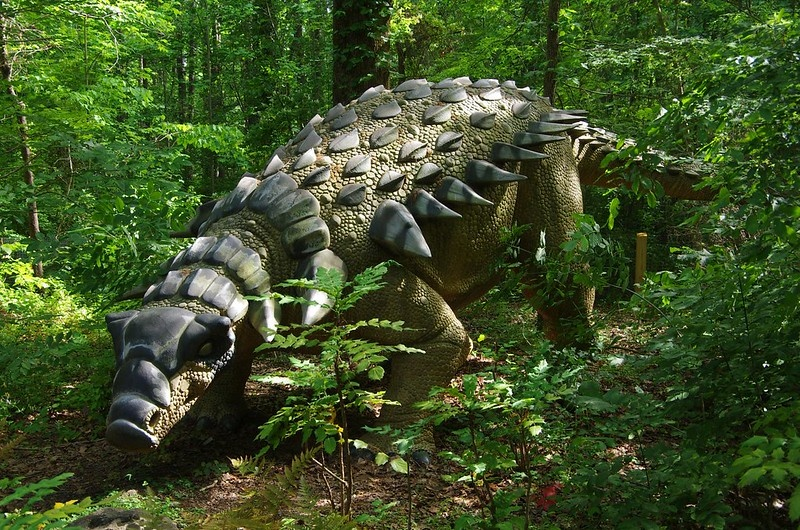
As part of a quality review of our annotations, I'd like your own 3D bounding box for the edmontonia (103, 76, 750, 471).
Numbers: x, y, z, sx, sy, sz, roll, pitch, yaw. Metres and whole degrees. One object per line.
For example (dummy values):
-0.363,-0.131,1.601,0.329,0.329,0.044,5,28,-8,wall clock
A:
0.078,-0.539,8.113,7.367,2.203,3.003,-16,12,-37,edmontonia
